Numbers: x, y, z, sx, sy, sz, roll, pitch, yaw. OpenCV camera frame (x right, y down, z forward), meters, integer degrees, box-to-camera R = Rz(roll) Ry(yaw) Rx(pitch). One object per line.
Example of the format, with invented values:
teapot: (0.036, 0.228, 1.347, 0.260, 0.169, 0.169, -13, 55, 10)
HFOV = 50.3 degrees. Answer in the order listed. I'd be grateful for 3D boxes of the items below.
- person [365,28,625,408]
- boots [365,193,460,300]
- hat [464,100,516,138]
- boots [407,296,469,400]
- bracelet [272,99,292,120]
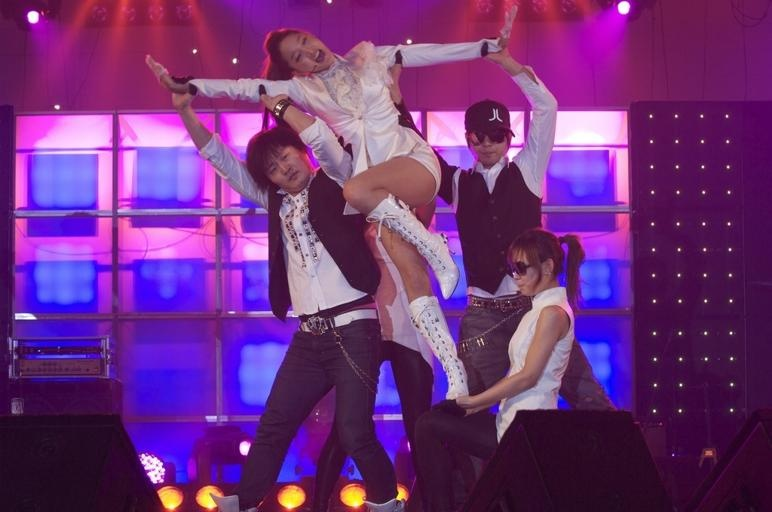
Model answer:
person: (0.798, 0.096, 5.918, 1.207, 3.268, 0.912, -7, -17, 10)
boots: (0.151, -0.054, 5.454, 0.253, 0.777, 0.347, -40, 0, 25)
hat: (0.697, -0.933, 5.674, 0.210, 0.201, 0.318, -2, 10, -8)
boots: (0.362, 0.555, 5.387, 0.242, 0.852, 0.243, -12, 6, 33)
bracelet: (-0.674, -0.946, 5.326, 0.100, 0.111, 0.073, 27, 8, -46)
